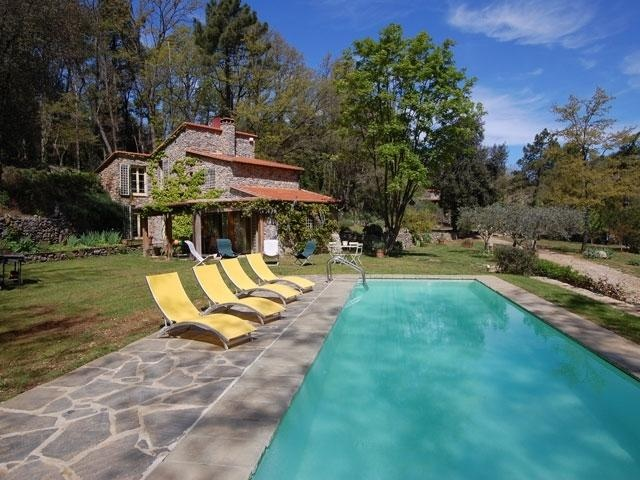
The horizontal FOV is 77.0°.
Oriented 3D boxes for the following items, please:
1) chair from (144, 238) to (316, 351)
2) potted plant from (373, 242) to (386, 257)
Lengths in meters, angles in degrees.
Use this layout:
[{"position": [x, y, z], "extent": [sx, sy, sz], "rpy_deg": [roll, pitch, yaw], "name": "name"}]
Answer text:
[{"position": [-2.539, 1.441, 9.775], "extent": [2.516, 1.477, 2.828], "rpy_deg": [1, 4, 7], "name": "chair"}, {"position": [3.943, 0.522, 26.752], "extent": [1.029, 1.090, 0.828], "rpy_deg": [0, -3, -2], "name": "potted plant"}]
